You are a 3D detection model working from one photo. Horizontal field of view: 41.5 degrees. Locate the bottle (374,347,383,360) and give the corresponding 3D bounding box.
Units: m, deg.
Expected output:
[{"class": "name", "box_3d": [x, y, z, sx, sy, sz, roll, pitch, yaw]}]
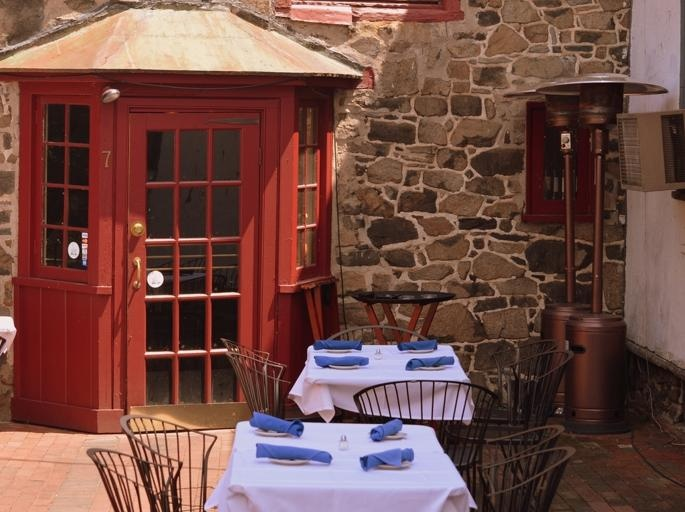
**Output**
[{"class": "bottle", "box_3d": [0.270, 0.712, 6.708, 0.056, 0.085, 0.060, -1, 2, 0]}]
